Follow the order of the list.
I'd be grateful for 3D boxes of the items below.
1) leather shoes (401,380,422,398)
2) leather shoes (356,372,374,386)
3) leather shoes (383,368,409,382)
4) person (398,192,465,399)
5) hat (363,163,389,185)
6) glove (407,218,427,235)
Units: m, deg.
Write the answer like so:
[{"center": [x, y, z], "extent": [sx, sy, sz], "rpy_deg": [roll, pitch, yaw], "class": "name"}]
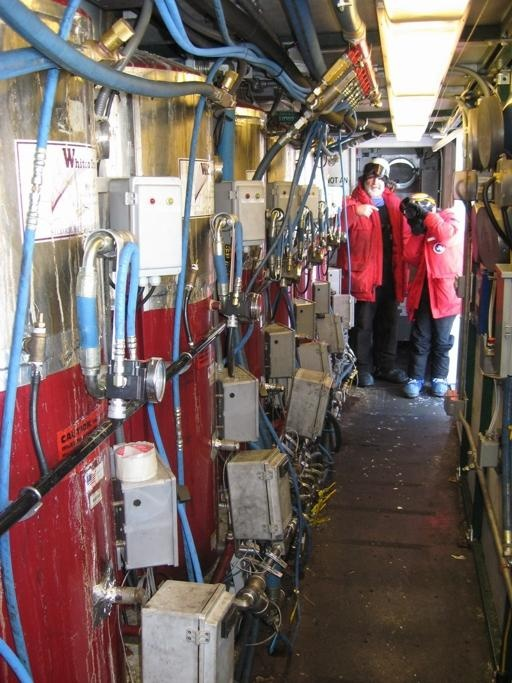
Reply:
[{"center": [1.635, 0.466, 5.482], "extent": [0.343, 0.166, 0.140], "rpy_deg": [-11, 13, -43], "class": "leather shoes"}, {"center": [1.177, 0.407, 5.774], "extent": [0.112, 0.201, 0.194], "rpy_deg": [-3, 6, 4], "class": "leather shoes"}, {"center": [1.568, 0.370, 5.990], "extent": [0.212, 0.165, 0.124], "rpy_deg": [0, 8, 33], "class": "leather shoes"}, {"center": [1.789, -0.476, 5.452], "extent": [0.597, 2.035, 0.632], "rpy_deg": [1, 9, 15], "class": "person"}, {"center": [1.295, -1.852, 5.840], "extent": [0.177, 0.219, 0.251], "rpy_deg": [5, 3, 5], "class": "hat"}, {"center": [1.622, -1.166, 5.361], "extent": [0.123, 0.193, 0.184], "rpy_deg": [5, 12, 18], "class": "glove"}]
